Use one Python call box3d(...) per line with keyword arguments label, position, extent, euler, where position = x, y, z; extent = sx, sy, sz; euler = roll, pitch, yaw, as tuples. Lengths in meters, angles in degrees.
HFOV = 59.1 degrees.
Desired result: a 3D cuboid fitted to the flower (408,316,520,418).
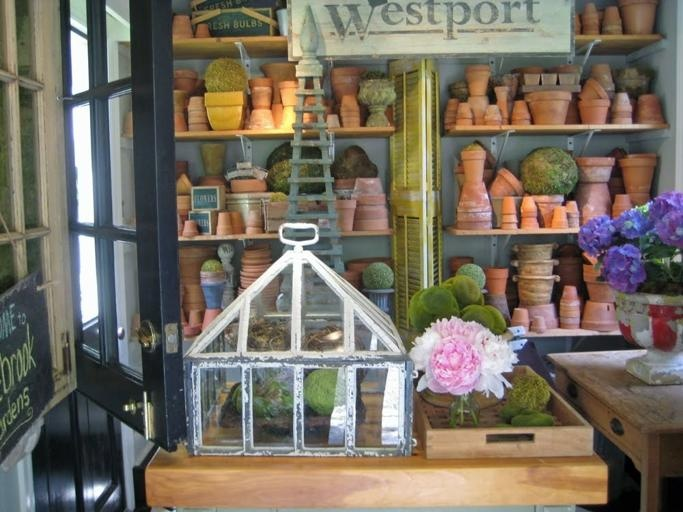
box3d(label="flower", position=(0.286, 0.232, 1.413), extent=(0.186, 0.178, 0.176), euler=(12, 17, 42))
